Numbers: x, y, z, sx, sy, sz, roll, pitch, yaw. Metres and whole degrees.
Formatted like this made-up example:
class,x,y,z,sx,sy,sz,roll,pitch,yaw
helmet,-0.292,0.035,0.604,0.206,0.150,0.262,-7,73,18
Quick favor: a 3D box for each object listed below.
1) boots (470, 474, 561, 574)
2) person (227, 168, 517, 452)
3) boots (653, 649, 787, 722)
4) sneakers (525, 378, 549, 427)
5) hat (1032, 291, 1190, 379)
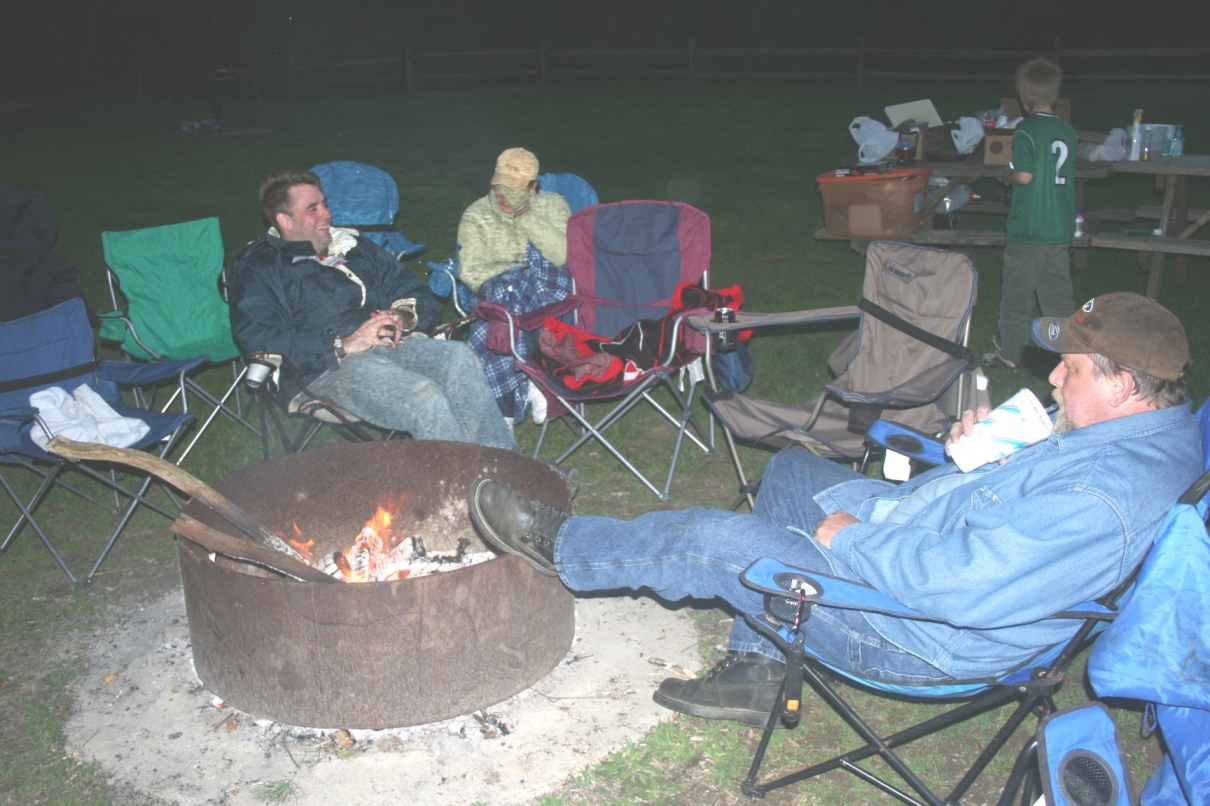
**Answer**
class,x,y,z,sx,sy,sz,roll,pitch,yaw
boots,-0.358,0.512,4.521,0.221,0.217,0.565,-10,-29,43
person,-1.246,-0.538,5.619,1.343,1.273,0.973,5,27,19
boots,0.545,1.239,4.763,0.674,0.304,0.238,5,1,16
sneakers,-0.369,0.000,6.297,0.063,0.253,0.153,-8,8,-35
hat,1.979,-0.303,4.171,0.617,0.328,0.426,13,22,19
